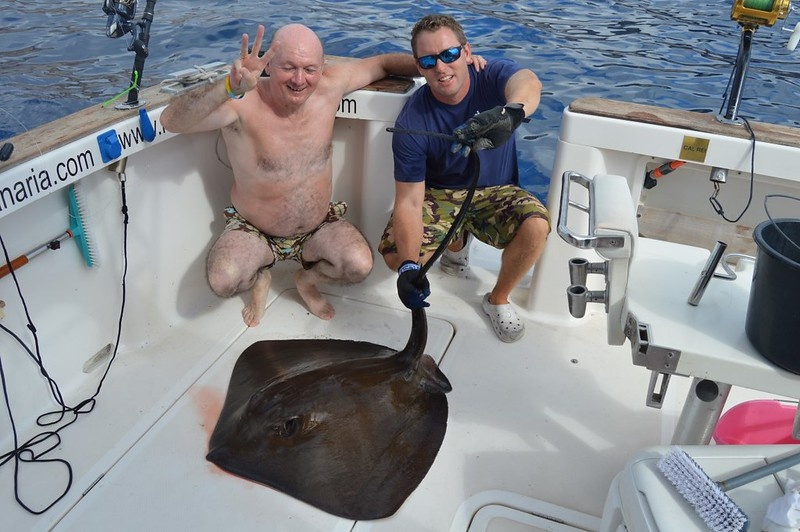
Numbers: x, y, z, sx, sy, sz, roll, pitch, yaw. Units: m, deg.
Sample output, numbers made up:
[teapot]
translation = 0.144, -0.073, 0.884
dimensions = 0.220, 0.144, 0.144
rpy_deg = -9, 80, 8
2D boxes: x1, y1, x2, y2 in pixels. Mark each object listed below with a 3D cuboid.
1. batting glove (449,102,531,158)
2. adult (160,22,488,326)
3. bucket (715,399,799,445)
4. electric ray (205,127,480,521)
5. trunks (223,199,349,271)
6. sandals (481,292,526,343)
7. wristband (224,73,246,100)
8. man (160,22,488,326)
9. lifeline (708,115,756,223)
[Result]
[batting glove]
translation = 0.369, -0.591, 2.584
dimensions = 0.428, 0.164, 0.152
rpy_deg = -34, 58, -27
[adult]
translation = -0.394, -0.418, 3.152
dimensions = 1.409, 1.503, 0.836
rpy_deg = -7, 48, -15
[bucket]
translation = 1.581, 0.722, 2.732
dimensions = 0.379, 0.081, 0.249
rpy_deg = -12, 38, 45
[electric ray]
translation = -0.291, 0.098, 2.520
dimensions = 1.246, 1.286, 1.247
rpy_deg = -14, 27, -35
[trunks]
translation = -0.769, -0.131, 3.678
dimensions = 0.784, 0.377, 0.974
rpy_deg = 6, 0, -11
[sandals]
translation = 0.553, 0.295, 3.192
dimensions = 0.137, 0.106, 0.258
rpy_deg = -17, 53, -14
[wristband]
translation = -0.782, -0.828, 2.797
dimensions = 0.106, 0.078, 0.110
rpy_deg = 0, 63, -6
[man]
translation = -0.431, -0.499, 3.236
dimensions = 1.532, 1.707, 0.821
rpy_deg = -25, 49, -36
[lifeline]
translation = 1.598, -0.444, 2.856
dimensions = 0.196, 0.791, 0.094
rpy_deg = 32, 73, 38
